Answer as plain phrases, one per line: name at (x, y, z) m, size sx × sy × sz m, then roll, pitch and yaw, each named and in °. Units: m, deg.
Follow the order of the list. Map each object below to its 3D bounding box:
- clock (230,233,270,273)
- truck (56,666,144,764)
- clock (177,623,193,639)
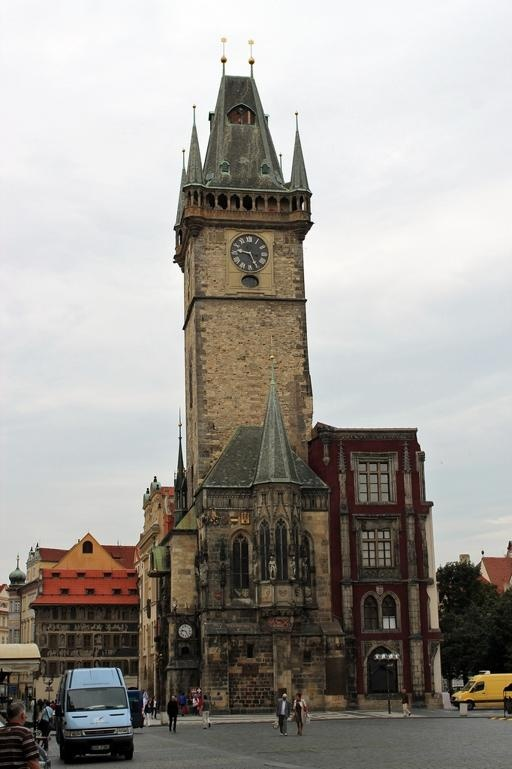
clock at (-0.439, -7.122, 61.200) m, size 2.142 × 2.313 × 0.154 m, roll -2°, pitch -22°, yaw -20°
truck at (-3.842, 7.852, 26.458) m, size 1.216 × 1.634 × 3.215 m, roll -1°, pitch -17°, yaw -6°
clock at (-3.521, 12.176, 54.539) m, size 0.604 × 0.737 × 0.160 m, roll -1°, pitch -6°, yaw -2°
